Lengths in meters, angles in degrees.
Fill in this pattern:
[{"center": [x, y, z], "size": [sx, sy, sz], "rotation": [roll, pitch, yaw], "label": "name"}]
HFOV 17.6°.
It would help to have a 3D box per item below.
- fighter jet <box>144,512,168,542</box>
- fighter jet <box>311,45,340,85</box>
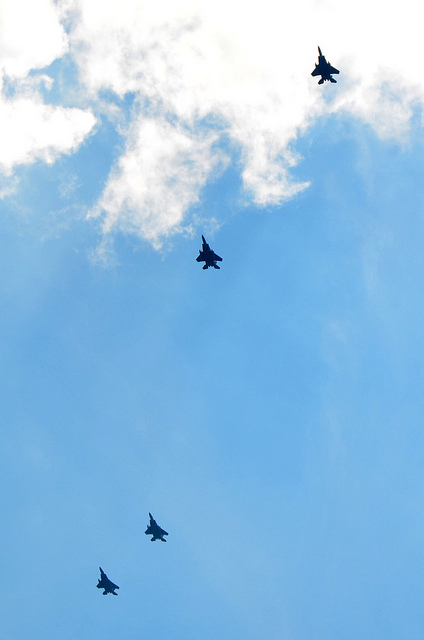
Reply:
[{"center": [-6.855, 25.683, 165.001], "size": [1.775, 1.655, 3.404], "rotation": [-5, -35, 12], "label": "fighter jet"}, {"center": [13.307, -30.716, 166.006], "size": [3.413, 0.507, 7.707], "rotation": [-2, -27, 12], "label": "fighter jet"}]
